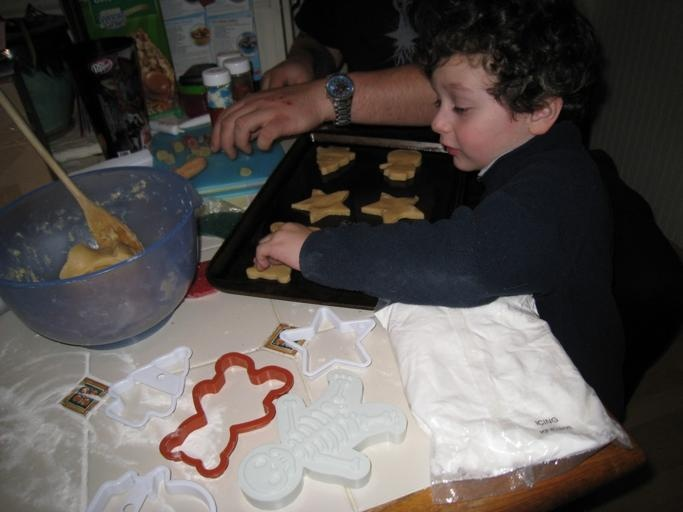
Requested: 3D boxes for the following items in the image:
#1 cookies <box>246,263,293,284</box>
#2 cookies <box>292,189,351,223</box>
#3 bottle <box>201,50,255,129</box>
[{"bbox_3d":[-0.157,0.037,1.091,0.062,0.013,0.046,-8,34,-13],"label":"cookies"},{"bbox_3d":[-0.045,-0.124,1.274,0.092,0.017,0.099,-14,36,-6],"label":"cookies"},{"bbox_3d":[-0.321,-0.458,1.488,0.105,0.161,0.231,9,41,13],"label":"bottle"}]
